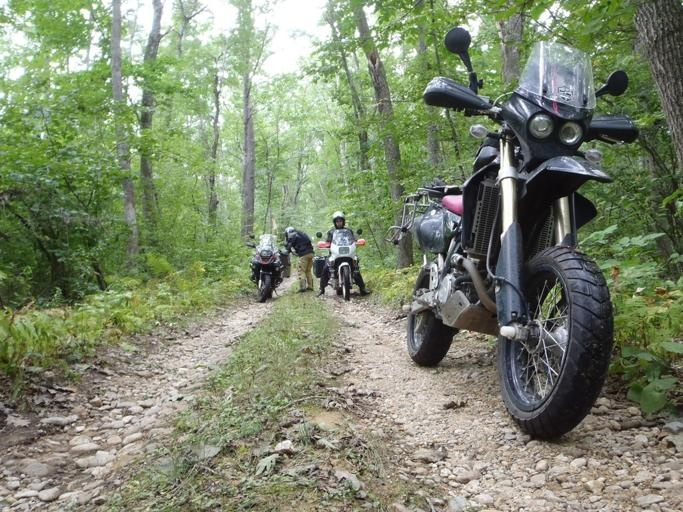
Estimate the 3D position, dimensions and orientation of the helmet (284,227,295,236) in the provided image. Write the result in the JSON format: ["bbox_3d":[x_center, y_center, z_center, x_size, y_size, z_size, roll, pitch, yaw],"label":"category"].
[{"bbox_3d":[-1.341,-0.642,13.927,0.200,0.262,0.186,21,22,5],"label":"helmet"}]

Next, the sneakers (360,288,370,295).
[{"bbox_3d":[0.575,0.820,12.760,0.228,0.152,0.455,-5,12,3],"label":"sneakers"}]

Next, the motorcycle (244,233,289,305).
[{"bbox_3d":[-1.858,0.353,13.547,0.806,1.605,1.320,-7,12,-10],"label":"motorcycle"}]

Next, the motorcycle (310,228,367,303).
[{"bbox_3d":[-0.065,0.183,13.282,0.859,1.236,2.109,-1,-8,-6],"label":"motorcycle"}]

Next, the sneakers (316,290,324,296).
[{"bbox_3d":[-0.490,0.905,12.903,0.156,0.143,0.376,-5,12,-1],"label":"sneakers"}]

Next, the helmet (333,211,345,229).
[{"bbox_3d":[-0.047,-0.917,13.711,0.326,0.442,0.440,-3,-3,0],"label":"helmet"}]
